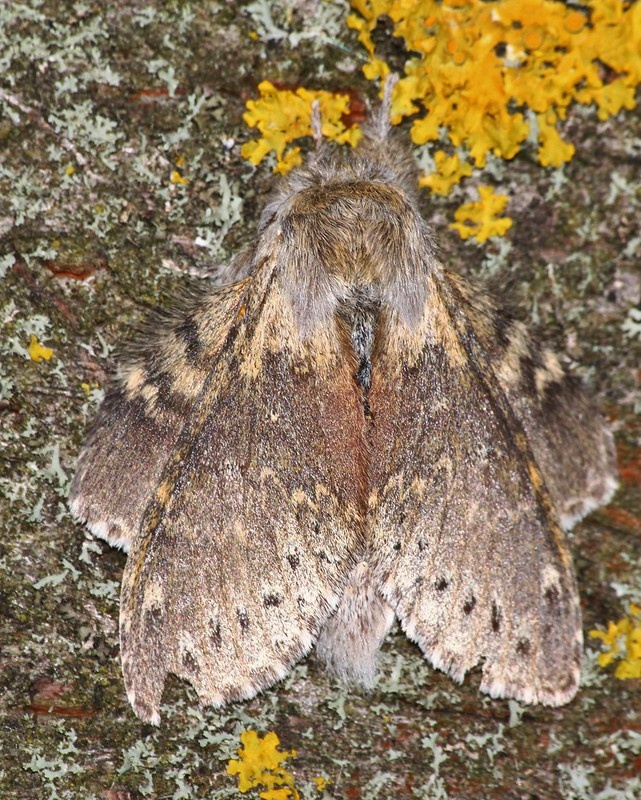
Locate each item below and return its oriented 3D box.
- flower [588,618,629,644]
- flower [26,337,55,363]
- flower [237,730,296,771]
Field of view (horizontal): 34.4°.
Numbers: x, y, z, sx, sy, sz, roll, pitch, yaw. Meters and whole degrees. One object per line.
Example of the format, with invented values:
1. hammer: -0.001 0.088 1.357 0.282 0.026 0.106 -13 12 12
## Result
1. flower: 0.866 0.689 3.078 0.096 0.079 0.026 6 22 -12
2. flower: -0.833 -0.148 3.081 0.077 0.069 0.019 -27 22 -7
3. flower: -0.164 1.062 3.154 0.166 0.079 0.093 4 58 -4
